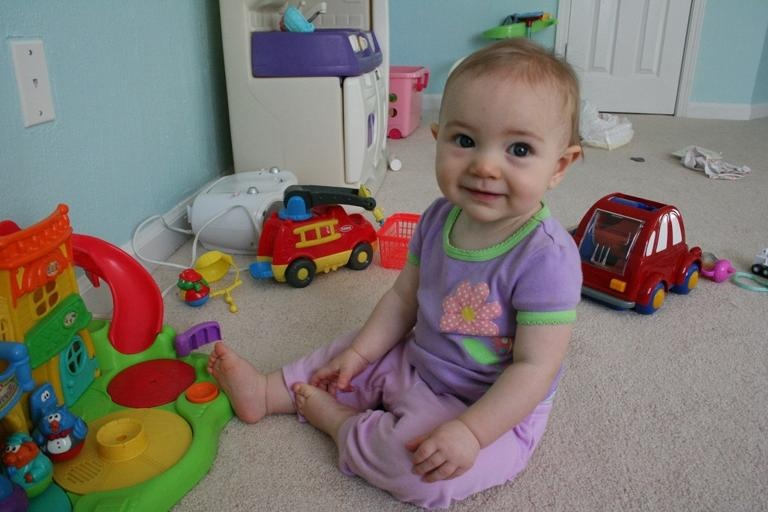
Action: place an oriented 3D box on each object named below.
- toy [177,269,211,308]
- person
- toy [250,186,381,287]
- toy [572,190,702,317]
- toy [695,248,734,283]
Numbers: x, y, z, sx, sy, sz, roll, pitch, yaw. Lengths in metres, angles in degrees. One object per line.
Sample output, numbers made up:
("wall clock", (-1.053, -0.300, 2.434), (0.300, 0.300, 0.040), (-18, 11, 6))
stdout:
("toy", (-0.550, 0.101, 1.618), (0.057, 0.077, 0.059), (24, 45, 23))
("person", (0.088, 0.028, 1.149), (0.646, 0.855, 0.488), (-15, 28, -31))
("toy", (-0.222, -0.123, 1.850), (0.468, 0.308, 0.231), (-15, 31, -27))
("toy", (0.705, -0.017, 1.642), (0.383, 0.257, 0.283), (-23, 29, -33))
("toy", (1.034, 0.030, 1.797), (0.096, 0.070, 0.126), (-11, 24, -37))
